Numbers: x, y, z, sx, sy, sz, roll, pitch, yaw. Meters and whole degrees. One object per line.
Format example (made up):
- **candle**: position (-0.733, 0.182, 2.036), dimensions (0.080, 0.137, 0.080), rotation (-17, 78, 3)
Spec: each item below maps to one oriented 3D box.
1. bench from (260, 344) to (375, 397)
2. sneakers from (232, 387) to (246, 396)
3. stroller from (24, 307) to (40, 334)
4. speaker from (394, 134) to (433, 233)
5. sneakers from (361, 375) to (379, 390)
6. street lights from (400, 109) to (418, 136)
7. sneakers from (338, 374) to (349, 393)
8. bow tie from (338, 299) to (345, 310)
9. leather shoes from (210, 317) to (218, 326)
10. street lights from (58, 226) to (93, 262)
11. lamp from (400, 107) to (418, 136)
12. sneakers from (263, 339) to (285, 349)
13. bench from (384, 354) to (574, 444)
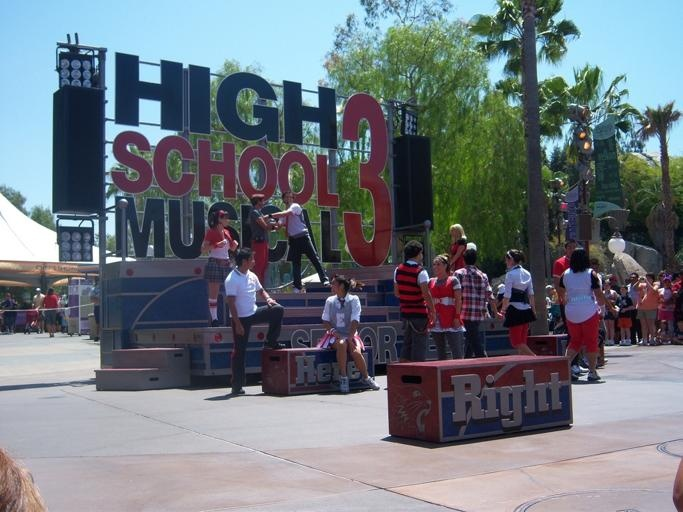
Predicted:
- **bench**: position (-0.757, 2.134, 17.399), dimensions (1.391, 0.833, 0.541), rotation (-2, -4, -6)
- **sneakers**: position (-1.900, 2.529, 17.574), dimensions (0.216, 0.272, 0.118), rotation (1, -3, -18)
- **stroller**: position (-14.150, 3.015, 43.571), dimensions (0.856, 1.512, 0.758), rotation (6, -12, -33)
- **speaker**: position (1.958, -2.074, 26.550), dimensions (1.059, 2.554, 0.550), rotation (-2, -4, -1)
- **sneakers**: position (0.545, 2.388, 17.710), dimensions (0.152, 0.225, 0.436), rotation (-7, 16, -41)
- **street lights**: position (1.911, -3.822, 27.425), dimensions (0.070, 0.884, 0.747), rotation (-3, -6, 33)
- **sneakers**: position (0.043, 2.375, 17.453), dimensions (0.187, 0.297, 0.234), rotation (-2, -4, -1)
- **bow tie**: position (-0.007, 0.902, 17.425), dimensions (0.093, 0.166, 0.133), rotation (-1, -13, 4)
- **leather shoes**: position (-2.667, 1.408, 19.891), dimensions (0.120, 0.179, 0.141), rotation (0, -2, 21)
- **street lights**: position (-5.830, -0.226, 20.796), dimensions (0.615, 0.736, 0.089), rotation (5, -13, -39)
- **lamp**: position (1.910, -3.867, 27.484), dimensions (0.187, 0.828, 0.813), rotation (-5, -5, 38)
- **sneakers**: position (-1.264, 1.698, 17.977), dimensions (0.425, 0.235, 0.158), rotation (2, 2, -21)
- **bench**: position (2.017, 2.105, 13.925), dimensions (2.630, 1.148, 0.666), rotation (-1, -4, -16)
